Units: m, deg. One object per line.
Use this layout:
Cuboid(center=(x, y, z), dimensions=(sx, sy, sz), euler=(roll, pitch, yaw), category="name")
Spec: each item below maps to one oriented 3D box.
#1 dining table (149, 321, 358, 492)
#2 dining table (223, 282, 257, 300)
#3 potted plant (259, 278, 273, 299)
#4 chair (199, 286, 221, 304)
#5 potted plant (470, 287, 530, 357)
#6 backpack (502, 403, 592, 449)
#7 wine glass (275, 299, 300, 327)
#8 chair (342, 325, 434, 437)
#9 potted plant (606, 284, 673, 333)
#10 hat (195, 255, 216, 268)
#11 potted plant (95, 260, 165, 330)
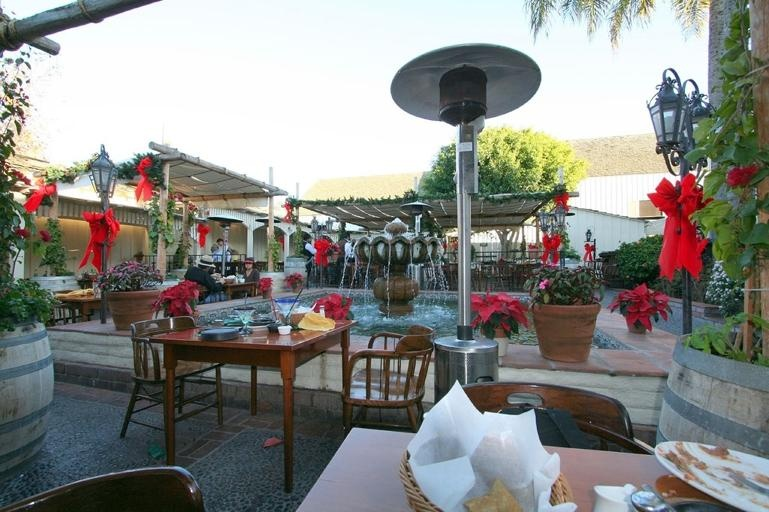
Cuboid(center=(-1.039, 0.935, 4.695), dimensions=(1.343, 1.112, 1.686), euler=(0, 0, 17), category="dining table")
Cuboid(center=(-2.884, 0.674, 10.830), dimensions=(0.336, 0.357, 0.417), euler=(0, 1, 21), category="dining table")
Cuboid(center=(-2.406, 0.651, 10.960), dimensions=(0.392, 0.390, 0.344), euler=(-1, -8, -1), category="potted plant")
Cuboid(center=(-3.040, 0.686, 9.434), dimensions=(0.340, 0.300, 0.217), euler=(-2, 6, -21), category="chair")
Cuboid(center=(1.081, 0.624, 5.189), dimensions=(0.639, 0.493, 0.609), euler=(0, -3, 24), category="potted plant")
Cuboid(center=(0.969, 0.982, 3.170), dimensions=(0.429, 0.143, 0.398), euler=(2, 22, -14), category="backpack")
Cuboid(center=(-0.868, 0.507, 4.854), dimensions=(0.208, 0.246, 0.285), euler=(-10, -12, 41), category="wine glass")
Cuboid(center=(0.046, 1.055, 4.796), dimensions=(1.018, 1.182, 0.925), euler=(1, -5, 7), category="chair")
Cuboid(center=(2.954, 0.578, 6.289), dimensions=(0.720, 0.432, 0.691), euler=(0, -2, 21), category="potted plant")
Cuboid(center=(-4.138, 0.122, 12.572), dimensions=(0.332, 0.098, 0.344), euler=(9, -3, 11), category="hat")
Cuboid(center=(-2.892, 0.441, 6.615), dimensions=(0.898, 0.917, 0.993), euler=(2, -5, -13), category="potted plant")
